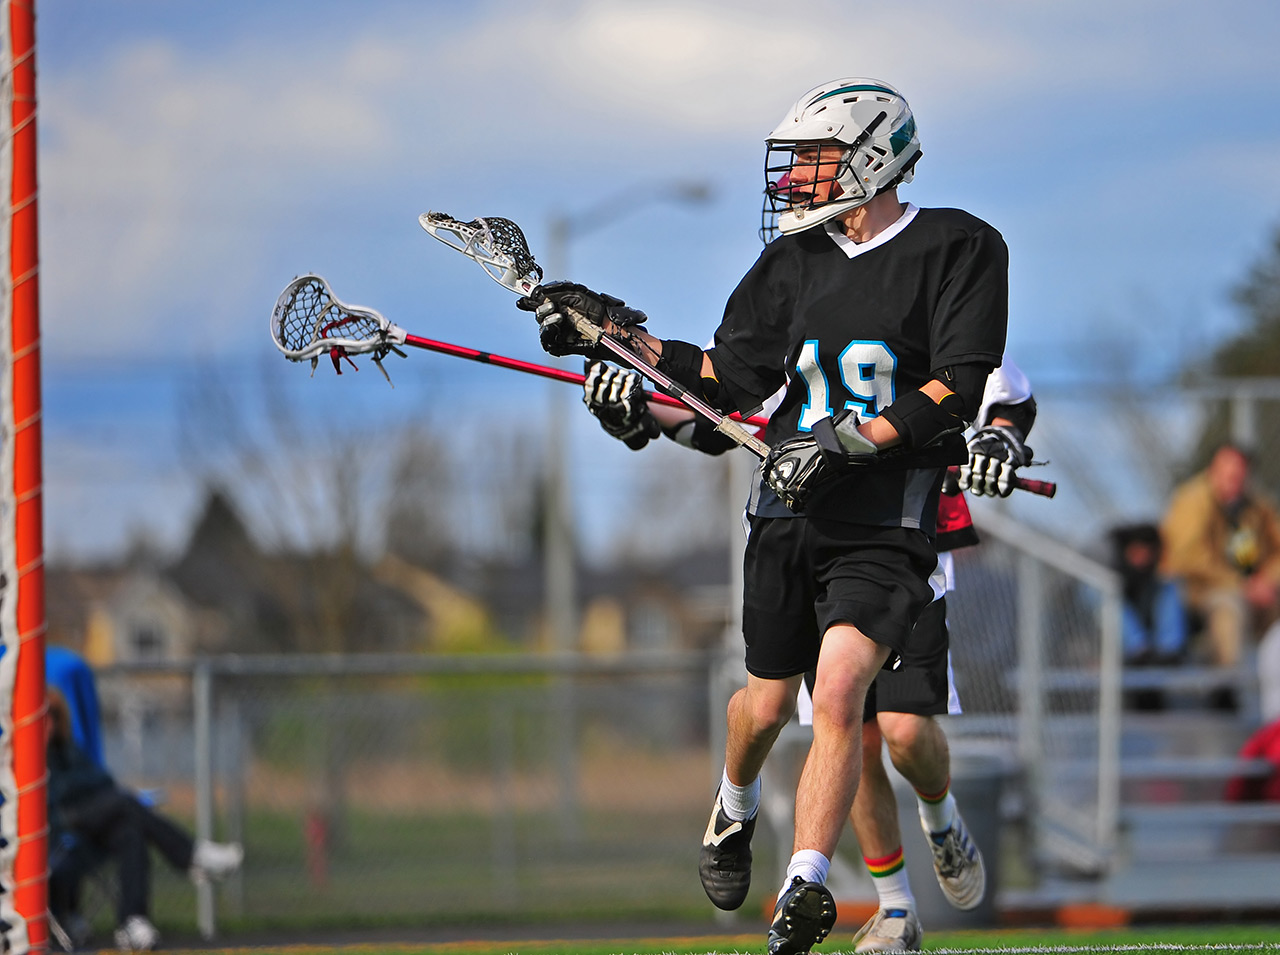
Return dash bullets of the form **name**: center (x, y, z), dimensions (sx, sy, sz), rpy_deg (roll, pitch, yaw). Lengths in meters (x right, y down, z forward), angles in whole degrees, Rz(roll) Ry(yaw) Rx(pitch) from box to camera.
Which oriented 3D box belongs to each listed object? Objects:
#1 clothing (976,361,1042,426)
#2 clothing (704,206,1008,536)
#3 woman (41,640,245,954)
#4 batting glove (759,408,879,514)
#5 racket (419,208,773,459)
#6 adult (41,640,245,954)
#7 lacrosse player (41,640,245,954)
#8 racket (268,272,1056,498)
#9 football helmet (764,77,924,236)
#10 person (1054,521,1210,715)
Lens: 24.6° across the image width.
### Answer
- **clothing**: center (1.395, -0.328, 11.141), dimensions (0.198, 0.270, 0.260), rpy_deg (6, 11, 12)
- **clothing**: center (0.793, -0.379, 10.612), dimensions (1.083, 1.213, 0.614), rpy_deg (-1, -8, 33)
- **woman**: center (-2.079, 1.255, 11.833), dimensions (0.637, 1.098, 0.370), rpy_deg (-1, -1, -10)
- **batting glove**: center (0.599, -0.071, 10.340), dimensions (0.406, 0.253, 0.174), rpy_deg (-31, 23, 6)
- **racket**: center (-0.031, -0.425, 10.142), dimensions (1.443, 0.207, 0.211), rpy_deg (36, -21, 2)
- **adult**: center (-2.079, 1.255, 11.833), dimensions (0.636, 1.098, 0.370), rpy_deg (-1, -1, -10)
- **lacrosse player**: center (-2.076, 1.254, 11.834), dimensions (0.640, 1.098, 0.374), rpy_deg (-1, -1, -9)
- **racket**: center (0.337, -0.316, 10.485), dimensions (2.298, 0.546, 0.279), rpy_deg (12, 43, 10)
- **football helmet**: center (0.735, -1.161, 10.665), dimensions (0.625, 0.550, 0.471), rpy_deg (-3, 5, -24)
- **person**: center (2.364, 0.639, 13.612), dimensions (0.511, 0.731, 0.258), rpy_deg (-2, 1, 1)
